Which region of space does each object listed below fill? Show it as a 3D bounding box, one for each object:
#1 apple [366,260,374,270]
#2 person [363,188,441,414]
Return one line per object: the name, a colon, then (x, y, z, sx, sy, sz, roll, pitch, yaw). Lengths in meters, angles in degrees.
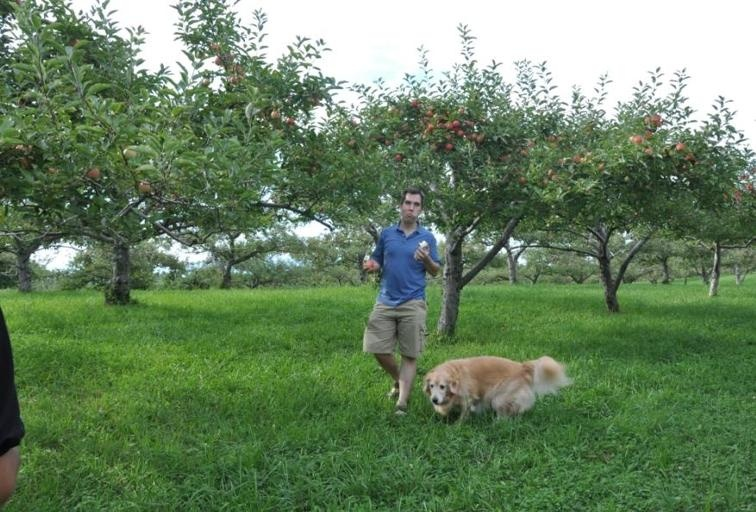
apple: (-0.139, 0.147, 11.042, 0.089, 0.165, 0.232, 9, 12, 36)
person: (0.388, 0.709, 11.115, 1.147, 3.684, 0.948, 6, 12, 26)
